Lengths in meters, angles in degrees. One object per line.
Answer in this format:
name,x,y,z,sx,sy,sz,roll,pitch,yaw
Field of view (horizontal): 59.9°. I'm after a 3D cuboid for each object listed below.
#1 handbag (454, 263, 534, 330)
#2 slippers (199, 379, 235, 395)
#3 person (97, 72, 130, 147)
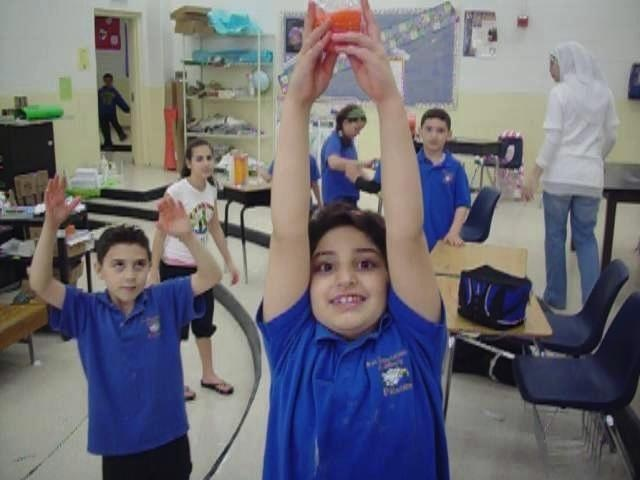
handbag,0.870,0.285,2.795,0.341,0.248,0.280,4,17,19
slippers,-0.674,0.933,3.632,0.170,0.057,0.087,8,17,28
person,-4.295,-2.605,11.285,0.735,1.558,0.490,-5,-9,-17
